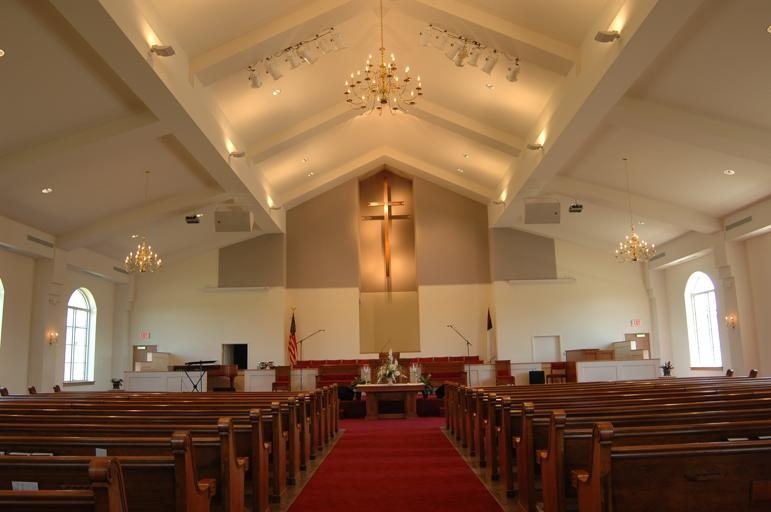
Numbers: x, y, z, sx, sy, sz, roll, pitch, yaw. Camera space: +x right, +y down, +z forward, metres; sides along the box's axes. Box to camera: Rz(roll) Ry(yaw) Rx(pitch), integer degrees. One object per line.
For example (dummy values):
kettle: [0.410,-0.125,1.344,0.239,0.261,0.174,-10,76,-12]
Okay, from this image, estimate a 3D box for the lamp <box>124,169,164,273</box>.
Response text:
lamp: [-6.519,-0.720,15.533,0.949,2.291,5.422,1,-3,-23]

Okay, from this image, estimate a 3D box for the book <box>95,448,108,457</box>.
book: [-2.698,1.862,5.458,0.120,0.079,0.082,1,-3,-15]

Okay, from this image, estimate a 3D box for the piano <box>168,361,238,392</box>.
piano: [-5.247,3.497,16.884,1.693,1.384,1.239,0,-3,3]

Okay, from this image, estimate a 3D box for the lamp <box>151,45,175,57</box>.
lamp: [-3.674,-3.403,9.448,0.337,0.196,0.322,1,-3,-16]

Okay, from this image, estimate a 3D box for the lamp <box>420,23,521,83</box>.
lamp: [1.838,-4.301,11.989,1.669,0.406,0.581,30,-25,15]

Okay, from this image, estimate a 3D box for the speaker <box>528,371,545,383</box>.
speaker: [4.480,3.568,17.005,0.355,0.340,0.167,0,-12,3]

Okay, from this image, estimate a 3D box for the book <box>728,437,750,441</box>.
book: [3.292,1.707,5.355,0.131,0.036,0.120,-2,-6,14]

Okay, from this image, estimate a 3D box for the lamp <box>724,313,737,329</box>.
lamp: [8.841,1.638,14.658,0.265,0.522,0.276,3,-10,8]

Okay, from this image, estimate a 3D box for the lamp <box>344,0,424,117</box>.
lamp: [-0.055,-4.590,12.990,1.841,3.358,1.784,-1,-16,-1]

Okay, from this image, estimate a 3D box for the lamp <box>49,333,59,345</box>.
lamp: [-8.409,2.082,14.521,0.092,0.321,0.291,0,-3,-3]

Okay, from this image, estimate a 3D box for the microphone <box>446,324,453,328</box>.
microphone: [2.134,2.299,18.896,0.198,0.100,0.040,0,-3,6]

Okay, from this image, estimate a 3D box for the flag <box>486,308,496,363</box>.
flag: [3.426,2.564,18.652,0.293,1.641,0.480,-1,-3,11]

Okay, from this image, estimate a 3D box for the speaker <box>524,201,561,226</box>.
speaker: [4.232,-1.180,15.519,1.066,0.584,0.694,-2,-4,0]

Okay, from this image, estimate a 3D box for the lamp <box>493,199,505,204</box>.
lamp: [3.460,-1.678,17.467,0.364,0.151,0.212,2,9,31]

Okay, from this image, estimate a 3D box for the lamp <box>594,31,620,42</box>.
lamp: [3.592,-3.555,9.263,0.315,0.186,0.108,3,6,-1]

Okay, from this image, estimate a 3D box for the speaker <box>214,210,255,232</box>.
speaker: [-4.113,-1.048,15.676,0.994,0.666,0.561,3,29,-4]

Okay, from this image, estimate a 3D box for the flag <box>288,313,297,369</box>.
flag: [-2.943,2.608,18.266,0.288,1.612,1.263,0,-3,-9]
